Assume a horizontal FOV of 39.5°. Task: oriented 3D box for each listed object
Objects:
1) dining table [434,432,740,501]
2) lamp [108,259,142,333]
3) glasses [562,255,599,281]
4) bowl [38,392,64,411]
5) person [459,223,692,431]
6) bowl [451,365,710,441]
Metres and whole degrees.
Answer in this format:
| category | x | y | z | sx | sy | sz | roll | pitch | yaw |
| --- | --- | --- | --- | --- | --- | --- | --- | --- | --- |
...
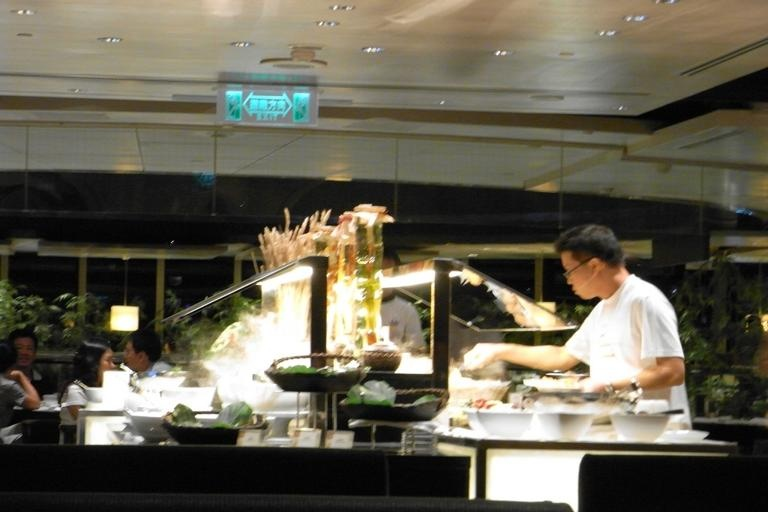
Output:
| category | x | y | z | sx | sy | sz | roll | pitch | yaw |
| --- | --- | --- | --- | --- | --- | --- | --- | --- | --- |
| dining table | 0.961 | 1.116 | 5.637 | 1.357 | 0.360 | 0.270 | 0 | -6 | 2 |
| lamp | -2.573 | 0.397 | 10.698 | 0.282 | 0.716 | 0.434 | 3 | -6 | -21 |
| glasses | 1.171 | 0.057 | 6.367 | 0.051 | 0.145 | 0.153 | 26 | -14 | -4 |
| bowl | -3.078 | 1.342 | 9.889 | 0.172 | 0.060 | 0.223 | 2 | 8 | -8 |
| person | 0.858 | 0.473 | 6.802 | 1.687 | 1.647 | 0.999 | 3 | -15 | -6 |
| bowl | 0.788 | 0.793 | 6.173 | 0.854 | 0.359 | 1.068 | 0 | -6 | -1 |
